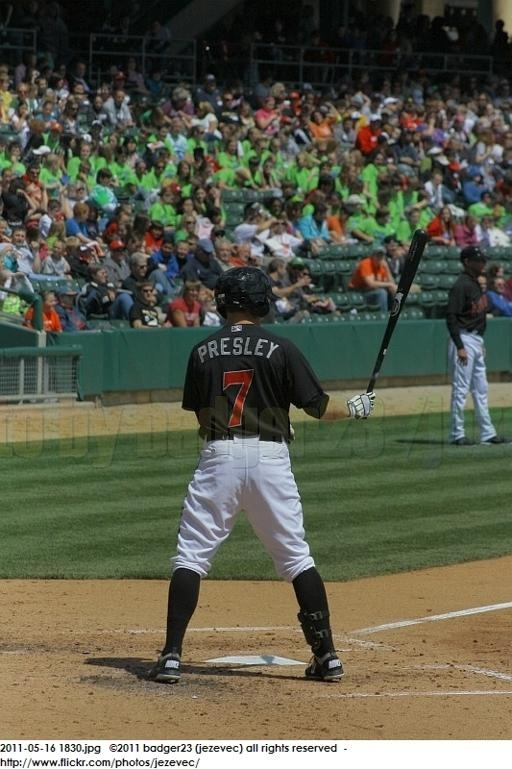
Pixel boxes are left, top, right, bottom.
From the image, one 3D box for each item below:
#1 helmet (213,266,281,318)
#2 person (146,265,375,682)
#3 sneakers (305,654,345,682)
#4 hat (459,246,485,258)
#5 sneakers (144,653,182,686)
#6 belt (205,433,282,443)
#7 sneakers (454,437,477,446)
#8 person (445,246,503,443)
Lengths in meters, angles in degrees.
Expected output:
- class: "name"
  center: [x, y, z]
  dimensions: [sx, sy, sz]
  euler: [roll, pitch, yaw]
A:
- class: "helmet"
  center: [-0.051, -0.356, 5.116]
  dimensions: [0.172, 0.191, 0.215]
  euler: [5, 15, 7]
- class: "person"
  center: [-0.018, 0.344, 4.984]
  dimensions: [0.728, 1.570, 0.412]
  euler: [1, 5, -6]
- class: "sneakers"
  center: [0.259, 1.085, 5.041]
  dimensions: [0.071, 0.098, 0.196]
  euler: [1, -3, -14]
- class: "hat"
  center: [1.776, -1.083, 10.842]
  dimensions: [0.179, 0.101, 0.186]
  euler: [2, 4, 8]
- class: "sneakers"
  center: [-0.348, 1.047, 4.885]
  dimensions: [0.119, 0.128, 0.149]
  euler: [1, 5, -5]
- class: "belt"
  center: [-0.052, 0.193, 4.913]
  dimensions: [0.288, 0.045, 0.080]
  euler: [2, 4, 4]
- class: "sneakers"
  center: [1.776, 0.483, 11.125]
  dimensions: [0.210, 0.090, 0.070]
  euler: [-2, 4, 10]
- class: "person"
  center: [1.837, -0.312, 11.092]
  dimensions: [0.483, 1.669, 0.898]
  euler: [3, 5, 10]
